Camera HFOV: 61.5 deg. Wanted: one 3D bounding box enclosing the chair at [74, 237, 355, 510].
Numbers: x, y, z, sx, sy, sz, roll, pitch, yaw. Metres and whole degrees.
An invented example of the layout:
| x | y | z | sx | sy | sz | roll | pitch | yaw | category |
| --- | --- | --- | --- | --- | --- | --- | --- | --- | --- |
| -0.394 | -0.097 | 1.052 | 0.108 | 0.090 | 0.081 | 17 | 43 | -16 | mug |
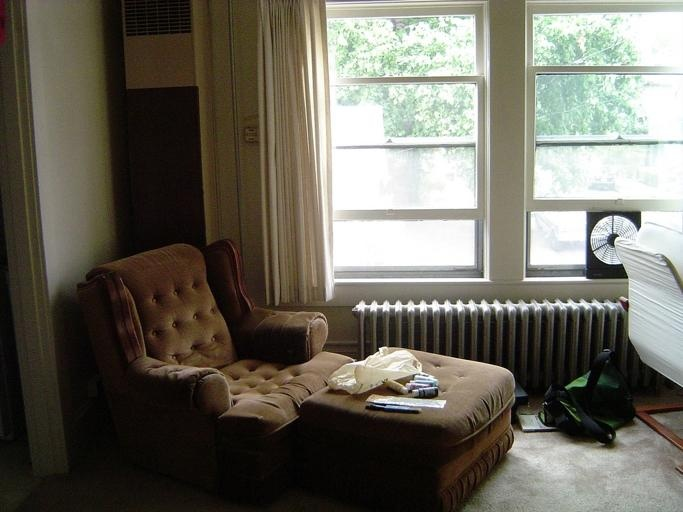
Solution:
| x | y | z | sx | sy | sz | roll | pitch | yaw | category |
| --- | --- | --- | --- | --- | --- | --- | --- | --- | --- |
| -0.626 | 0.548 | 3.118 | 1.248 | 1.073 | 1.018 | 5 | 13 | 36 | chair |

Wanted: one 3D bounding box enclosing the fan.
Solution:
| x | y | z | sx | sy | sz | roll | pitch | yaw | category |
| --- | --- | --- | --- | --- | --- | --- | --- | --- | --- |
| 1.795 | -0.075 | 3.769 | 0.136 | 0.463 | 0.330 | 16 | -15 | -38 | fan |

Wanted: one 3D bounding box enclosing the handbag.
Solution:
| x | y | z | sx | sy | sz | roll | pitch | yaw | category |
| --- | --- | --- | --- | --- | --- | --- | --- | --- | --- |
| 1.425 | 0.772 | 3.364 | 0.363 | 0.496 | 0.499 | 9 | 13 | 17 | handbag |
